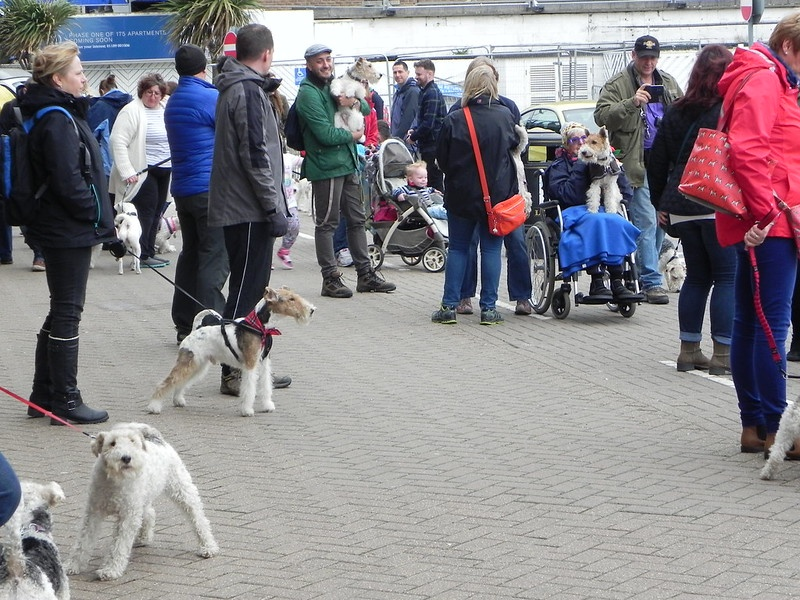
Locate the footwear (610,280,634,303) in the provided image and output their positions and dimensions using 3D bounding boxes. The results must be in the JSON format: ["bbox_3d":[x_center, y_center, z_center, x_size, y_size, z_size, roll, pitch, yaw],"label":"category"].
[{"bbox_3d":[2.312,-0.080,11.949,0.272,0.211,0.191,2,11,9],"label":"footwear"}]

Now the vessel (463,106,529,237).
[{"bbox_3d":[0.973,-1.281,12.280,0.613,1.388,0.865,3,3,26],"label":"vessel"}]

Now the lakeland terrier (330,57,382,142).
[{"bbox_3d":[-0.637,-2.513,13.866,0.654,0.850,0.372,12,35,-8],"label":"lakeland terrier"}]

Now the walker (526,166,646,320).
[{"bbox_3d":[1.820,-0.487,12.250,1.218,1.854,1.696,0,-2,-14],"label":"walker"}]

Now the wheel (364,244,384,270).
[{"bbox_3d":[-0.328,-0.542,14.918,0.262,0.259,0.099,-41,-23,31],"label":"wheel"}]

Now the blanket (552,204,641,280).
[{"bbox_3d":[2.020,-0.600,12.317,0.884,0.426,1.122,13,-10,5],"label":"blanket"}]

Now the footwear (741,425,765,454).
[{"bbox_3d":[2.537,1.033,8.569,0.245,0.217,0.111,-3,5,-4],"label":"footwear"}]

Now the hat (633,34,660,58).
[{"bbox_3d":[2.652,-2.709,12.530,0.202,0.154,0.277,1,14,2],"label":"hat"}]

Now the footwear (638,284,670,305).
[{"bbox_3d":[2.900,-0.041,13.182,0.163,0.138,0.338,-2,5,-20],"label":"footwear"}]

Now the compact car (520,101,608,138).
[{"bbox_3d":[2.344,-2.709,17.143,0.782,0.588,1.247,-8,19,-32],"label":"compact car"}]

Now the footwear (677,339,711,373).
[{"bbox_3d":[2.618,0.508,10.440,0.368,0.325,0.176,-5,10,-23],"label":"footwear"}]

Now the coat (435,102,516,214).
[{"bbox_3d":[0.780,-1.555,12.245,0.981,1.156,0.719,-14,26,-26],"label":"coat"}]

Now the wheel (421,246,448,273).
[{"bbox_3d":[0.472,-0.531,15.234,0.311,0.300,0.122,-20,5,34],"label":"wheel"}]

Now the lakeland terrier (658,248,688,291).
[{"bbox_3d":[3.166,-0.382,13.678,0.327,0.372,0.741,-5,25,4],"label":"lakeland terrier"}]

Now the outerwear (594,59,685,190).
[{"bbox_3d":[2.676,-1.888,12.938,1.107,1.280,0.815,-17,29,-33],"label":"outerwear"}]

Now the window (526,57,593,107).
[{"bbox_3d":[3.306,-4.545,24.176,1.331,0.707,0.063,0,21,10],"label":"window"}]
